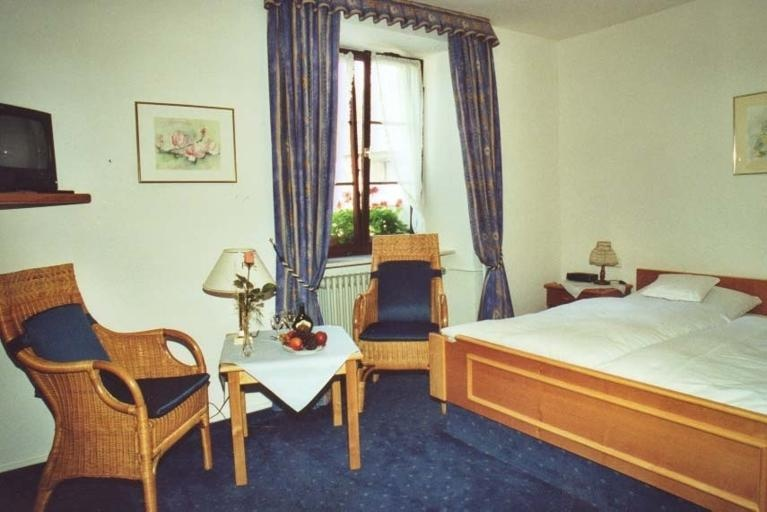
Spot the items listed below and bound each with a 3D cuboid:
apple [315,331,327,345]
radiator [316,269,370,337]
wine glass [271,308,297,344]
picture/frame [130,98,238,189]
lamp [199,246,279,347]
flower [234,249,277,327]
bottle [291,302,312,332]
[{"bbox_3d":[-0.483,0.642,4.740,0.087,0.093,0.087,-4,-6,-4],"label":"apple"},{"bbox_3d":[-0.415,0.474,5.963,0.604,0.687,0.091,-4,11,-31],"label":"radiator"},{"bbox_3d":[-0.799,0.543,4.884,0.218,0.249,0.223,2,-7,-3],"label":"wine glass"},{"bbox_3d":[-1.772,-0.984,5.258,0.791,0.673,0.029,-1,0,-27],"label":"picture/frame"},{"bbox_3d":[-1.248,0.344,5.234,0.742,1.047,0.769,-1,5,-24],"label":"lamp"},{"bbox_3d":[-1.041,0.279,4.909,0.315,0.663,0.258,-3,10,-14],"label":"flower"},{"bbox_3d":[-0.605,0.507,4.933,0.184,0.264,0.189,-1,-7,0],"label":"bottle"}]
